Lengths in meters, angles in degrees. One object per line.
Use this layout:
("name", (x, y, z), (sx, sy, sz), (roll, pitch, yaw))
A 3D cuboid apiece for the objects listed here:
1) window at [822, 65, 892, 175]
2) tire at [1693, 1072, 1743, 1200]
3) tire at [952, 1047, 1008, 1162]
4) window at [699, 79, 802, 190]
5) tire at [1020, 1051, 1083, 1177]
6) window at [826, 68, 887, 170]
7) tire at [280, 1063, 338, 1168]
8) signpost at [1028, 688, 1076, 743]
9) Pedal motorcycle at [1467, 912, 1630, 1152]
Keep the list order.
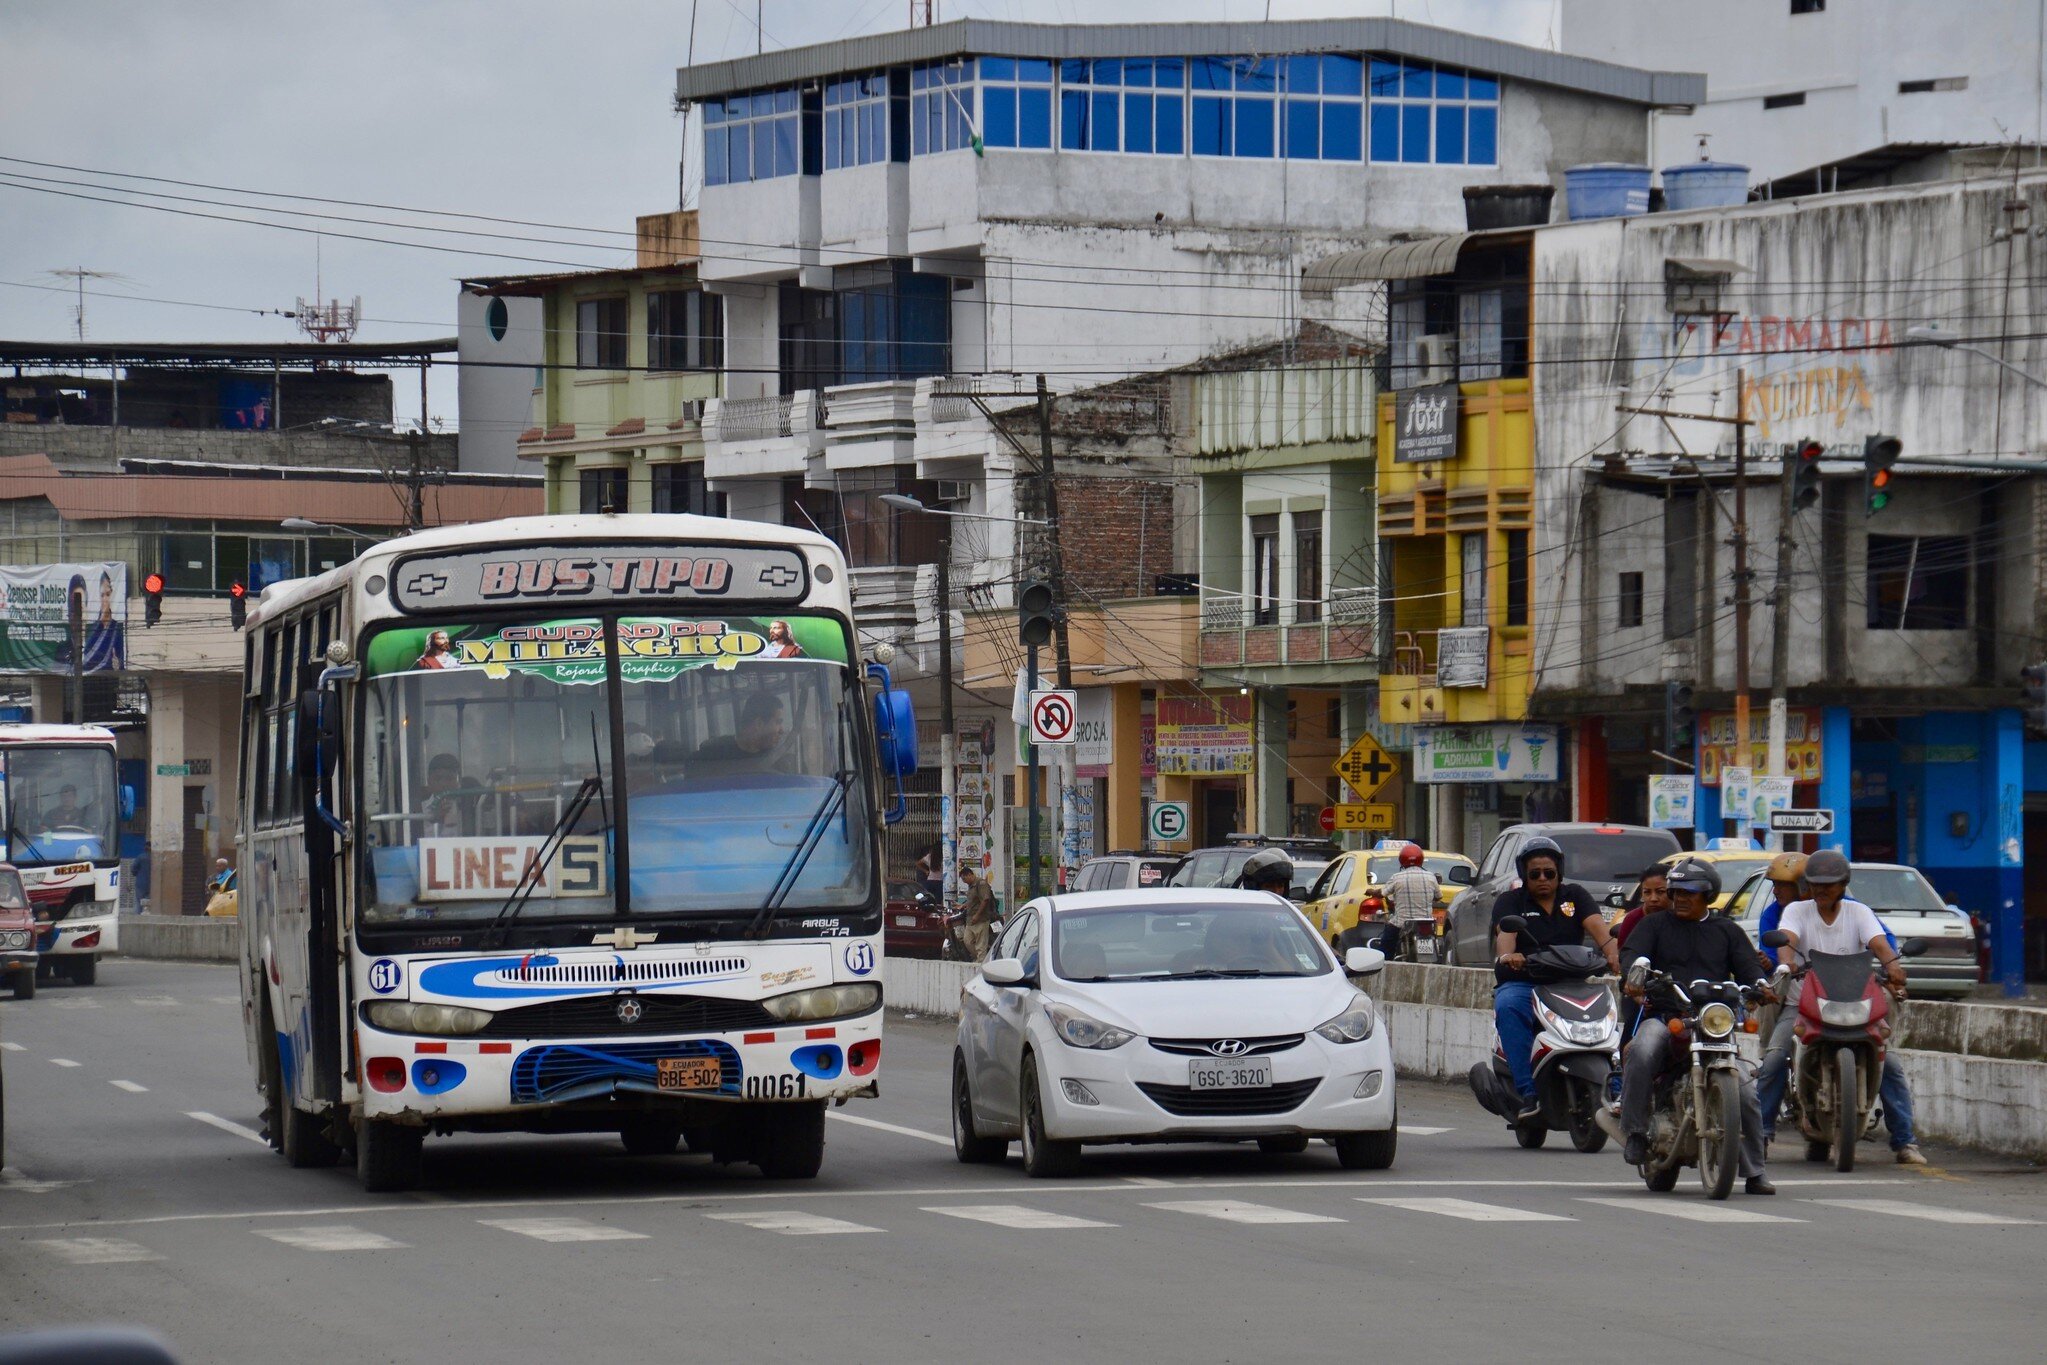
("window", (-3.641, -12.612, 80.647), (0.089, 2.598, 2.449), (4, -5, -39))
("tire", (5.155, 3.321, 26.965), (0.295, 0.954, 0.434), (0, 0, 9))
("tire", (-0.344, 3.420, 29.749), (0.372, 1.039, 1.002), (1, -2, -9))
("window", (-6.158, -12.583, 83.228), (0.648, 1.549, 3.410), (0, -1, -36))
("tire", (0.224, 3.302, 28.215), (0.301, 1.002, 0.968), (0, -3, -5))
("window", (-3.652, -12.638, 80.672), (0.103, 2.242, 2.128), (3, -8, -36))
("tire", (-5.783, 3.462, 29.472), (0.314, 1.031, 0.988), (-3, 5, -12))
("signpost", (0.369, 0.419, 49.610), (0.658, 0.752, 0.058), (2, 3, -12))
("Pedal motorcycle", (4.645, 2.983, 29.965), (0.811, 1.574, 2.228), (0, -4, -9))
